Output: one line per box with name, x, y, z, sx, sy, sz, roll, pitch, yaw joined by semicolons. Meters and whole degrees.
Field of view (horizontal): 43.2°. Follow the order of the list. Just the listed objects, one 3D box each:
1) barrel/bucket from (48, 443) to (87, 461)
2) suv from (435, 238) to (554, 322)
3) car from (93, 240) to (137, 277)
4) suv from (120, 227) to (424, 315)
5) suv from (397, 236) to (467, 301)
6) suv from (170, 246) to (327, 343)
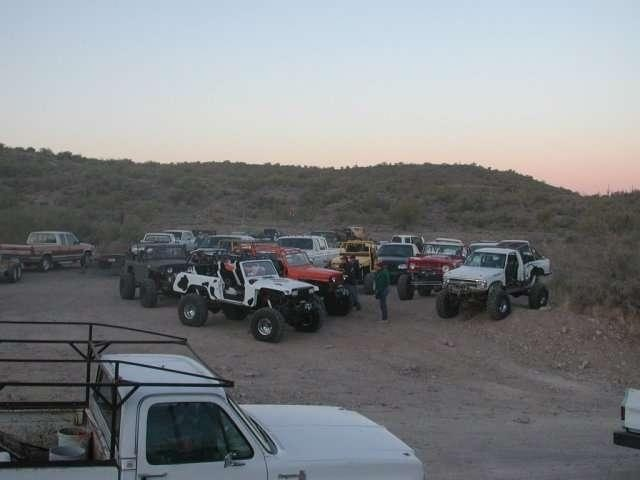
barrel/bucket;-3.634;3.119;11.609;0.489;0.239;0.477;2;11;0
suv;5.264;1.266;23.400;1.966;1.540;3.174;0;1;39
car;-9.545;0.876;37.310;1.204;0.806;2.330;1;9;-2
suv;-1.457;1.040;25.965;5.876;1.886;2.569;2;6;15
suv;3.743;1.021;27.070;1.533;1.239;2.615;1;3;16
suv;-1.955;1.444;21.584;3.645;1.625;2.020;3;6;34
